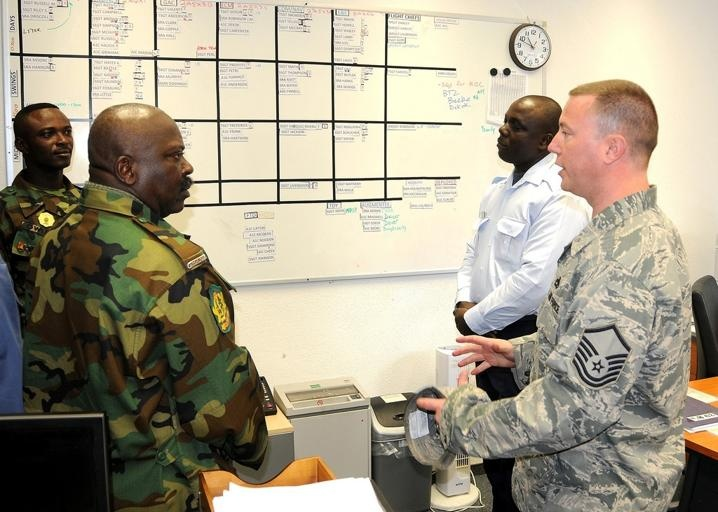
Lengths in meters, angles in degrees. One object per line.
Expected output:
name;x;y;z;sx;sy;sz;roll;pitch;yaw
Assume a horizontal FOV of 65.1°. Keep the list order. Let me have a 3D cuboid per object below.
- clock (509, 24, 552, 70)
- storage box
clock;1.060;-1.318;3.523;0.276;0.308;0.062;-1;7;-22
storage box;-0.243;0.568;1.421;0.160;0.055;0.178;0;3;-18
